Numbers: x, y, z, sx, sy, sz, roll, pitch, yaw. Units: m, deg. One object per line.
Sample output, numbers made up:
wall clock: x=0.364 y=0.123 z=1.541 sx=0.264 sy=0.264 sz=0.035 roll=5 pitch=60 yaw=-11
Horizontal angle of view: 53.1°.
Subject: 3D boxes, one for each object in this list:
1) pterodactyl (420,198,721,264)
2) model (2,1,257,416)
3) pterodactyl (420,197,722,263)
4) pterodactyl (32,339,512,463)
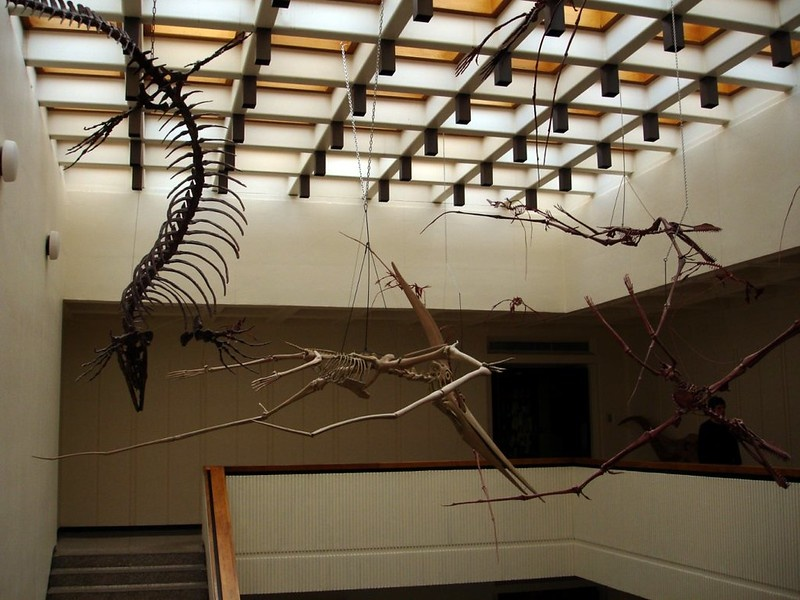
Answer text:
pterodactyl: x=1.733 y=-0.643 z=7.641 sx=2.505 sy=0.536 sz=0.453 roll=2 pitch=4 yaw=10
model: x=-2.872 y=-1.070 z=8.372 sx=1.476 sy=4.517 sz=1.518 roll=-2 pitch=1 yaw=-37
pterodactyl: x=2.032 y=-0.864 z=9.816 sx=3.338 sy=0.765 sz=0.680 roll=6 pitch=1 yaw=18
pterodactyl: x=-2.062 y=1.368 z=10.599 sx=5.881 sy=0.599 sz=1.788 roll=-4 pitch=0 yaw=-43
